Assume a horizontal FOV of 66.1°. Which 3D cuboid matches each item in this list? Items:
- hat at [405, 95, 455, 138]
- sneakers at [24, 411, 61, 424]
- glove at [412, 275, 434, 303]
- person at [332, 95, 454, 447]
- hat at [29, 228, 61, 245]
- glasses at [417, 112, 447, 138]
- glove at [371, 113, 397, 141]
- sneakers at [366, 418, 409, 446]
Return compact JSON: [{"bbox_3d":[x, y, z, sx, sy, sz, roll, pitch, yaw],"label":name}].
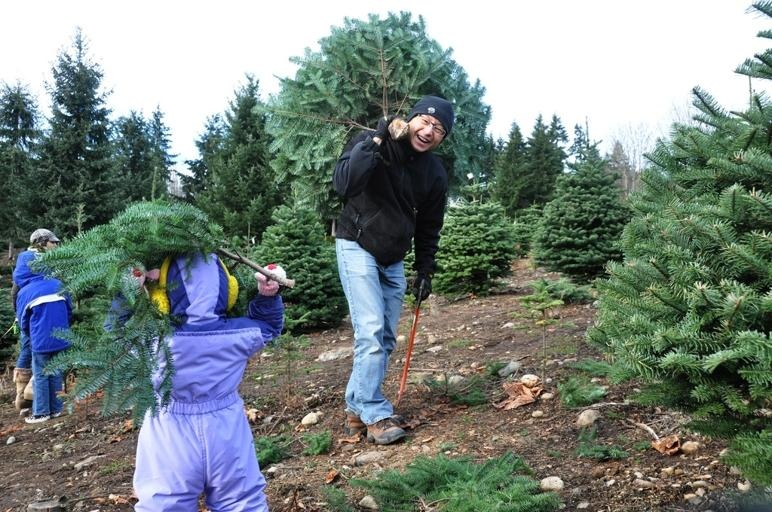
[{"bbox_3d":[0.407,-1.254,5.189,0.379,0.310,0.355,34,-1,15],"label":"hat"},{"bbox_3d":[-4.350,2.017,7.434,0.424,0.165,0.137,-3,8,-22],"label":"sneakers"},{"bbox_3d":[0.331,0.316,5.629,0.169,0.262,0.132,27,-16,-24],"label":"glove"},{"bbox_3d":[0.067,0.097,5.272,1.051,2.986,0.823,-4,0,-19],"label":"person"},{"bbox_3d":[-4.429,-0.262,7.621,0.477,0.227,0.337,-3,6,-28],"label":"hat"},{"bbox_3d":[0.418,-1.109,5.060,0.259,0.214,0.102,-3,0,-37],"label":"glasses"},{"bbox_3d":[-0.023,-1.102,5.036,0.183,0.221,0.075,26,8,-10],"label":"glove"},{"bbox_3d":[-0.001,1.483,5.071,0.344,0.237,0.224,-3,0,-1],"label":"sneakers"}]
